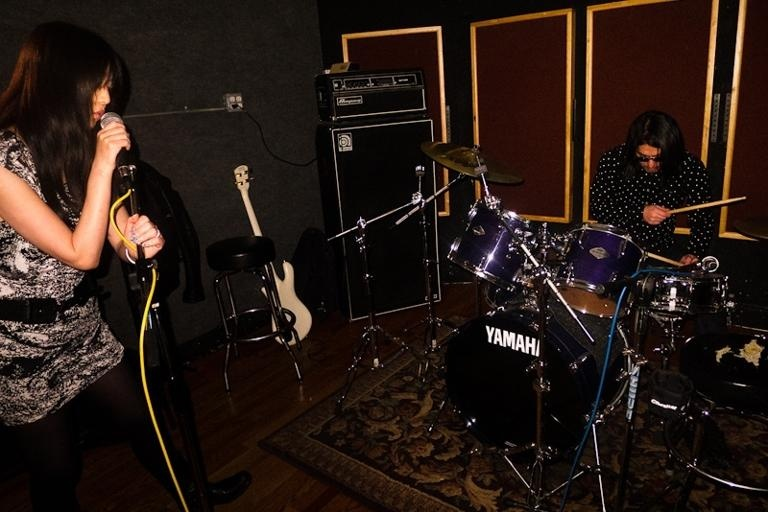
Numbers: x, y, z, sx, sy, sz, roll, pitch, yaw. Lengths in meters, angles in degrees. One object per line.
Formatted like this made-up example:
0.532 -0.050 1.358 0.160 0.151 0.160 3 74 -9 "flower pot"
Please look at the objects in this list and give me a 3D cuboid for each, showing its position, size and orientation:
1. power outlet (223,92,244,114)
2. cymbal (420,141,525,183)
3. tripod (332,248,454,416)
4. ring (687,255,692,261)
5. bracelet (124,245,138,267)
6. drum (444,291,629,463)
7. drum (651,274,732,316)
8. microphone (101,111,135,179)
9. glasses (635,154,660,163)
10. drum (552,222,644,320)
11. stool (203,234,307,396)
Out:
-1.174 -1.205 4.834 0.053 0.143 0.180 11 19 36 "power outlet"
0.553 -0.592 3.753 0.553 0.130 0.548 12 4 -6 "cymbal"
0.053 0.575 4.598 0.709 0.965 0.624 20 37 32 "tripod"
2.023 0.010 4.032 0.027 0.011 0.036 2 21 18 "ring"
-1.130 -0.007 2.738 0.069 0.097 0.035 -1 9 17 "bracelet"
0.708 0.808 3.716 0.905 0.873 0.677 12 -8 5 "drum"
1.629 0.184 3.279 0.310 0.187 0.391 0 0 -21 "drum"
-1.103 -0.445 2.582 0.108 0.372 0.110 -15 -13 16 "microphone"
1.824 -0.659 4.184 0.149 0.062 0.104 11 19 37 "glasses"
1.343 0.090 3.567 0.432 0.413 0.426 22 3 3 "drum"
-1.001 0.480 4.616 0.731 1.104 0.693 -17 28 -28 "stool"
